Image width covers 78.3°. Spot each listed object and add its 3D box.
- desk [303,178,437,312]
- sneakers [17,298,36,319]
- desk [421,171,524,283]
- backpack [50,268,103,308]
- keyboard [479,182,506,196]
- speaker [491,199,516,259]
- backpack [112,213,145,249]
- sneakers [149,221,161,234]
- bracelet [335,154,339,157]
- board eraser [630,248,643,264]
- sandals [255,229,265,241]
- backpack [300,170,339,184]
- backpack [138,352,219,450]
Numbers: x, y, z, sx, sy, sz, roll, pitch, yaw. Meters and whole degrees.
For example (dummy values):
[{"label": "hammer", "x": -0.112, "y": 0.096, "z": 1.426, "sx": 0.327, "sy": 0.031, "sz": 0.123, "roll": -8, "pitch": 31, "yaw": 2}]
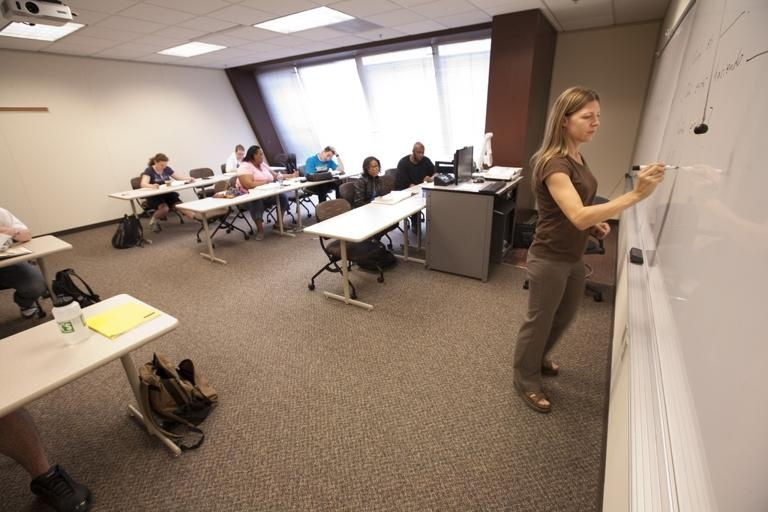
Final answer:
[{"label": "desk", "x": -0.066, "y": -0.105, "z": 5.208, "sx": 0.740, "sy": 0.873, "sz": 1.387, "roll": 7, "pitch": 26, "yaw": 32}, {"label": "sneakers", "x": -3.490, "y": 0.538, "z": 4.845, "sx": 0.120, "sy": 0.219, "sz": 0.166, "roll": -11, "pitch": 20, "yaw": -32}, {"label": "desk", "x": 1.005, "y": -0.381, "z": 5.712, "sx": 0.967, "sy": 1.264, "sz": 1.802, "roll": 8, "pitch": 25, "yaw": 22}, {"label": "backpack", "x": -2.919, "y": 0.331, "z": 4.723, "sx": 0.386, "sy": 0.365, "sz": 0.259, "roll": 7, "pitch": 26, "yaw": 1}, {"label": "keyboard", "x": 1.181, "y": -0.744, "z": 5.103, "sx": 0.176, "sy": 0.064, "sz": 0.502, "roll": 3, "pitch": 24, "yaw": 25}, {"label": "speaker", "x": 1.389, "y": -0.334, "z": 5.577, "sx": 0.321, "sy": 0.543, "sz": 0.579, "roll": 5, "pitch": 22, "yaw": 22}, {"label": "backpack", "x": -3.578, "y": -0.349, "z": 6.959, "sx": 0.310, "sy": 0.516, "sz": 0.532, "roll": -2, "pitch": 16, "yaw": 5}, {"label": "sneakers", "x": -3.454, "y": -0.445, "z": 7.521, "sx": 0.120, "sy": 0.092, "sz": 0.299, "roll": -6, "pitch": 11, "yaw": -43}, {"label": "bracelet", "x": -0.687, "y": -1.663, "z": 7.808, "sx": 0.040, "sy": 0.044, "sz": 0.046, "roll": 1, "pitch": 17, "yaw": 0}, {"label": "board eraser", "x": 1.734, "y": 0.007, "z": 3.327, "sx": 0.090, "sy": 0.035, "sz": 0.128, "roll": 7, "pitch": 51, "yaw": 18}, {"label": "sandals", "x": -1.727, "y": -0.296, "z": 7.005, "sx": 0.091, "sy": 0.073, "sz": 0.235, "roll": -4, "pitch": 10, "yaw": -6}, {"label": "backpack", "x": -0.851, "y": -1.191, "z": 7.210, "sx": 0.324, "sy": 0.102, "sz": 0.254, "roll": -15, "pitch": 22, "yaw": -43}, {"label": "backpack", "x": -1.493, "y": 1.141, "z": 3.695, "sx": 0.357, "sy": 0.705, "sz": 0.538, "roll": -14, "pitch": 16, "yaw": 48}]
